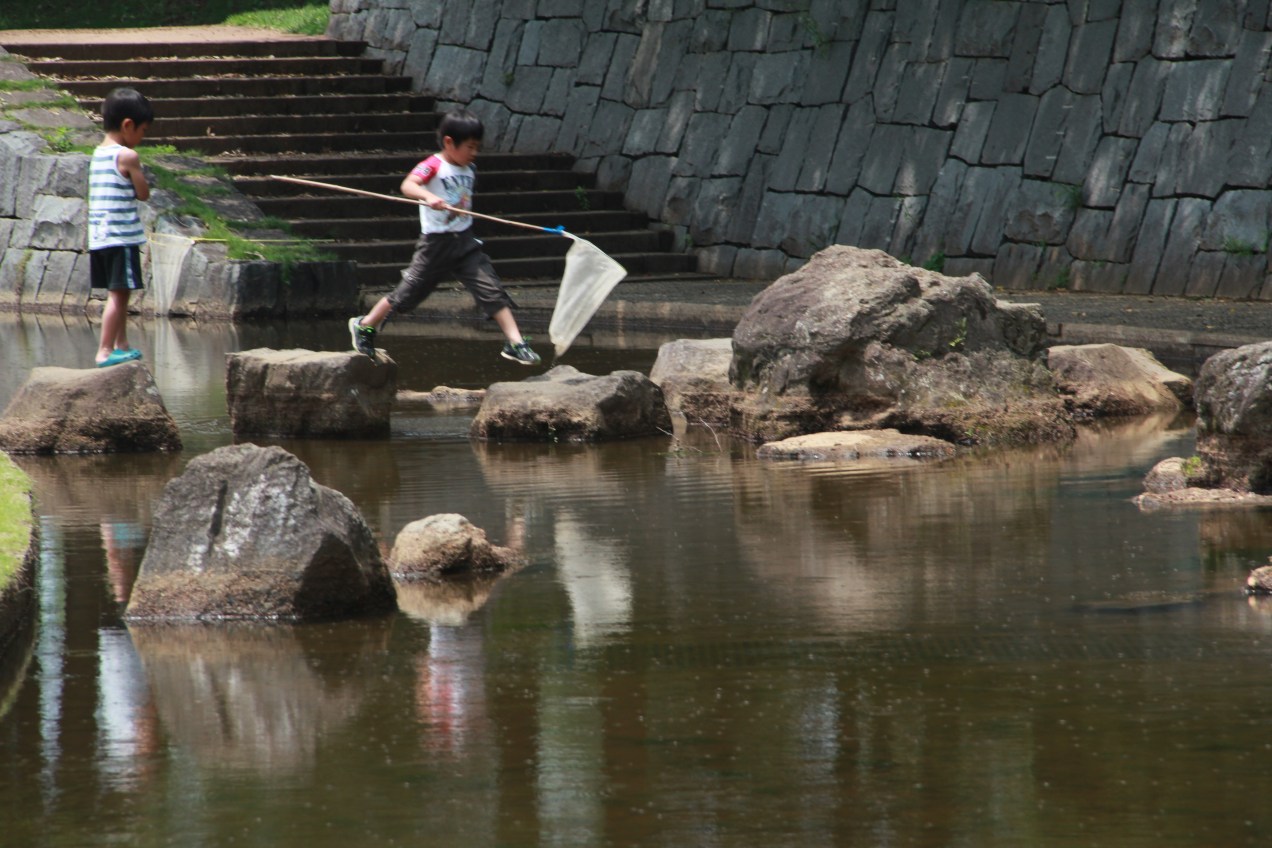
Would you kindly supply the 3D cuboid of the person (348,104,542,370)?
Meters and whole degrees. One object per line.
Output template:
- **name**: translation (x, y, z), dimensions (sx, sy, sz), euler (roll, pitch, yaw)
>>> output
- **person**: translation (-1.276, -1.294, 15.588), dimensions (1.188, 1.628, 0.672), euler (4, 9, -3)

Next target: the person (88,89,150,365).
- **person**: translation (-3.418, -1.278, 15.057), dimensions (0.390, 1.807, 0.646), euler (3, 9, -13)

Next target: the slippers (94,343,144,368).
- **slippers**: translation (-3.398, -0.453, 15.073), dimensions (0.304, 0.099, 0.148), euler (-8, -1, 16)

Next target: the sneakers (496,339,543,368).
- **sneakers**: translation (-0.810, -0.484, 15.754), dimensions (0.412, 0.141, 0.186), euler (5, 7, 39)
